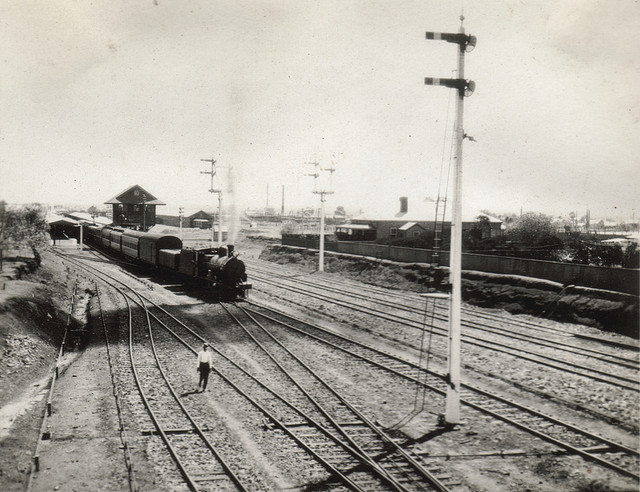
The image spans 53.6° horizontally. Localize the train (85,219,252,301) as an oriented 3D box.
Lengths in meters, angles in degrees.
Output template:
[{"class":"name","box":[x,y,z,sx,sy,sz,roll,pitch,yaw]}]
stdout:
[{"class":"train","box":[-11.144,0.281,42.253,1.590,3.008,25.397,-5,9,-32]}]
